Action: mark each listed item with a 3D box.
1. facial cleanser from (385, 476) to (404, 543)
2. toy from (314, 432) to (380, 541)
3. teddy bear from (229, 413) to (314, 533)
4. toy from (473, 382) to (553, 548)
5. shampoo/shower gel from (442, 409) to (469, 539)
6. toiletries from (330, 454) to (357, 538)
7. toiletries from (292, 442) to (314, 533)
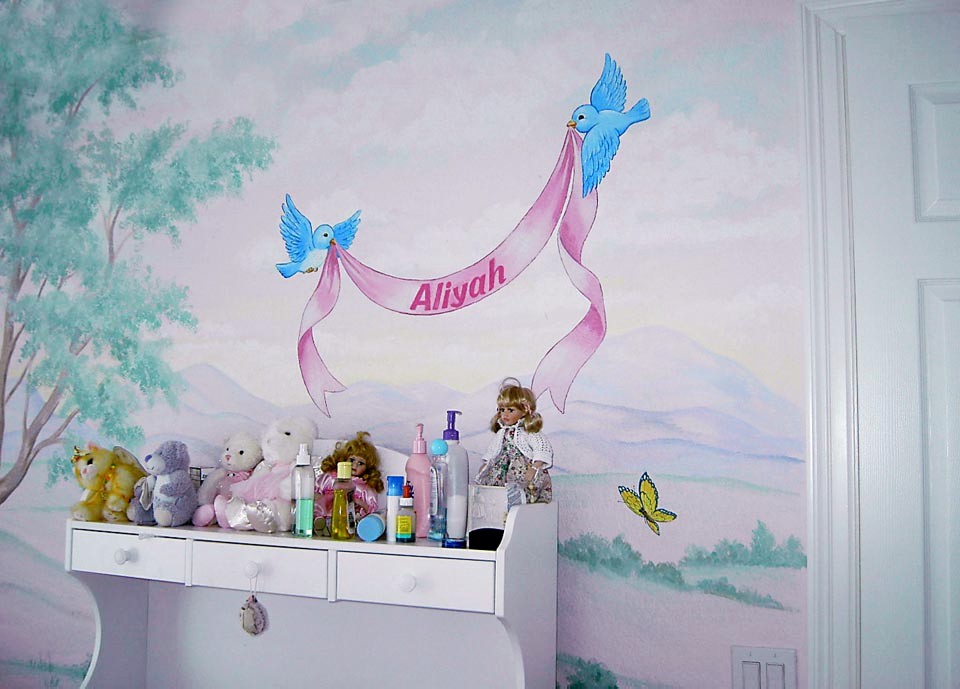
[{"bbox_3d":[-0.277,0.526,3.307,0.049,0.205,0.162,4,-12,-17],"label":"facial cleanser"},{"bbox_3d":[-0.433,0.454,3.391,0.195,0.301,0.102,2,-10,17],"label":"toy"},{"bbox_3d":[-0.683,0.436,3.452,0.257,0.410,0.313,-9,-18,33],"label":"teddy bear"},{"bbox_3d":[0.107,0.368,3.352,0.256,0.570,0.287,0,-11,4],"label":"toy"},{"bbox_3d":[-0.073,0.423,3.299,0.085,0.427,0.138,1,-11,-1],"label":"shampoo/shower gel"},{"bbox_3d":[-0.434,0.502,3.349,0.072,0.238,0.102,3,-11,-10],"label":"toiletries"},{"bbox_3d":[-0.561,0.472,3.360,0.073,0.288,0.114,3,-11,-10],"label":"toiletries"}]
